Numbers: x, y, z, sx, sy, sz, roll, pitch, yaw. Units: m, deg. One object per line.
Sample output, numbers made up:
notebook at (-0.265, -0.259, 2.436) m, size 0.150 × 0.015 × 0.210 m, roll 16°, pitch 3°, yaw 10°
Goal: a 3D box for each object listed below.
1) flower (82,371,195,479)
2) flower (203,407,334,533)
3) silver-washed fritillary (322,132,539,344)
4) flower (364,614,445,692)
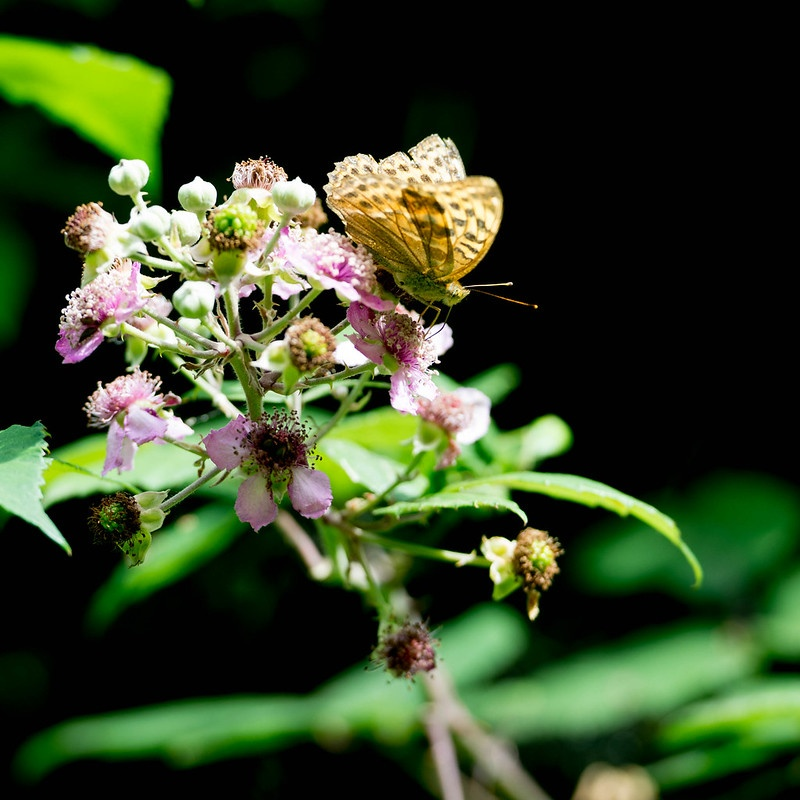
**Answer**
flower at (-0.660, 0.041, 2.440) m, size 0.271 × 0.213 × 0.239 m, roll 7°, pitch 5°, yaw 20°
flower at (-0.310, 0.160, 2.384) m, size 0.344 × 0.100 × 0.268 m, roll -10°, pitch 51°, yaw -47°
silver-washed fritillary at (0.107, -0.428, 2.561) m, size 0.586 × 0.393 × 0.546 m, roll 21°, pitch 12°, yaw -9°
flower at (0.031, 0.658, 2.608) m, size 0.184 × 0.108 × 0.184 m, roll 14°, pitch -1°, yaw -5°
